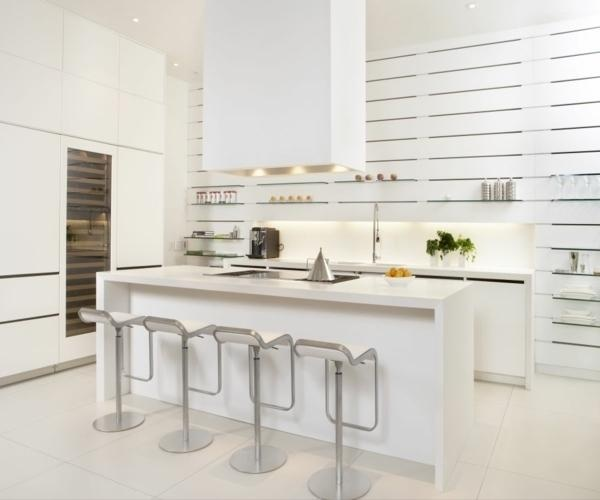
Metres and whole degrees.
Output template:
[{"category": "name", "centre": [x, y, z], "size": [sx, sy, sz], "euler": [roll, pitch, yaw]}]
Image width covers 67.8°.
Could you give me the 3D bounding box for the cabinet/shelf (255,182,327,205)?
[{"category": "cabinet/shelf", "centre": [-0.138, -0.821, 6.434], "size": [1.148, 0.336, 0.209], "euler": [5, 7, 37]}]

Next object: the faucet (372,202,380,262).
[{"category": "faucet", "centre": [0.996, -0.227, 5.897], "size": [0.106, 0.778, 0.215], "euler": [1, 5, 11]}]

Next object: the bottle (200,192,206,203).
[{"category": "bottle", "centre": [-1.531, -0.827, 7.092], "size": [0.083, 0.168, 0.031], "euler": [2, 5, 17]}]

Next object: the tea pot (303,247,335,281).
[{"category": "tea pot", "centre": [0.168, 0.118, 4.000], "size": [0.228, 0.288, 0.265], "euler": [1, 3, 24]}]

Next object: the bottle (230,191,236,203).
[{"category": "bottle", "centre": [-1.031, -0.817, 6.893], "size": [0.103, 0.172, 0.042], "euler": [0, 5, 1]}]

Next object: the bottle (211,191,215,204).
[{"category": "bottle", "centre": [-1.356, -0.825, 6.994], "size": [0.093, 0.184, 0.037], "euler": [4, 6, 33]}]

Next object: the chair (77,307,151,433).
[{"category": "chair", "centre": [-1.536, 0.979, 3.792], "size": [0.511, 0.992, 0.911], "euler": [-4, 7, -40]}]

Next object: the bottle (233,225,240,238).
[{"category": "bottle", "centre": [-1.003, -0.281, 6.894], "size": [0.163, 0.205, 0.102], "euler": [4, 6, 32]}]

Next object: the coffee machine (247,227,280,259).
[{"category": "coffee machine", "centre": [-0.521, -0.085, 6.424], "size": [0.381, 0.577, 0.438], "euler": [-1, -4, 36]}]

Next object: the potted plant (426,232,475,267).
[{"category": "potted plant", "centre": [1.806, -0.029, 5.338], "size": [0.540, 0.382, 0.449], "euler": [3, 6, 21]}]

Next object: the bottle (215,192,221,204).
[{"category": "bottle", "centre": [-1.278, -0.816, 6.960], "size": [0.101, 0.174, 0.033], "euler": [3, 6, 26]}]

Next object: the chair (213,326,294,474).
[{"category": "chair", "centre": [-0.311, 1.012, 3.365], "size": [0.525, 1.018, 0.705], "euler": [1, 5, 8]}]
